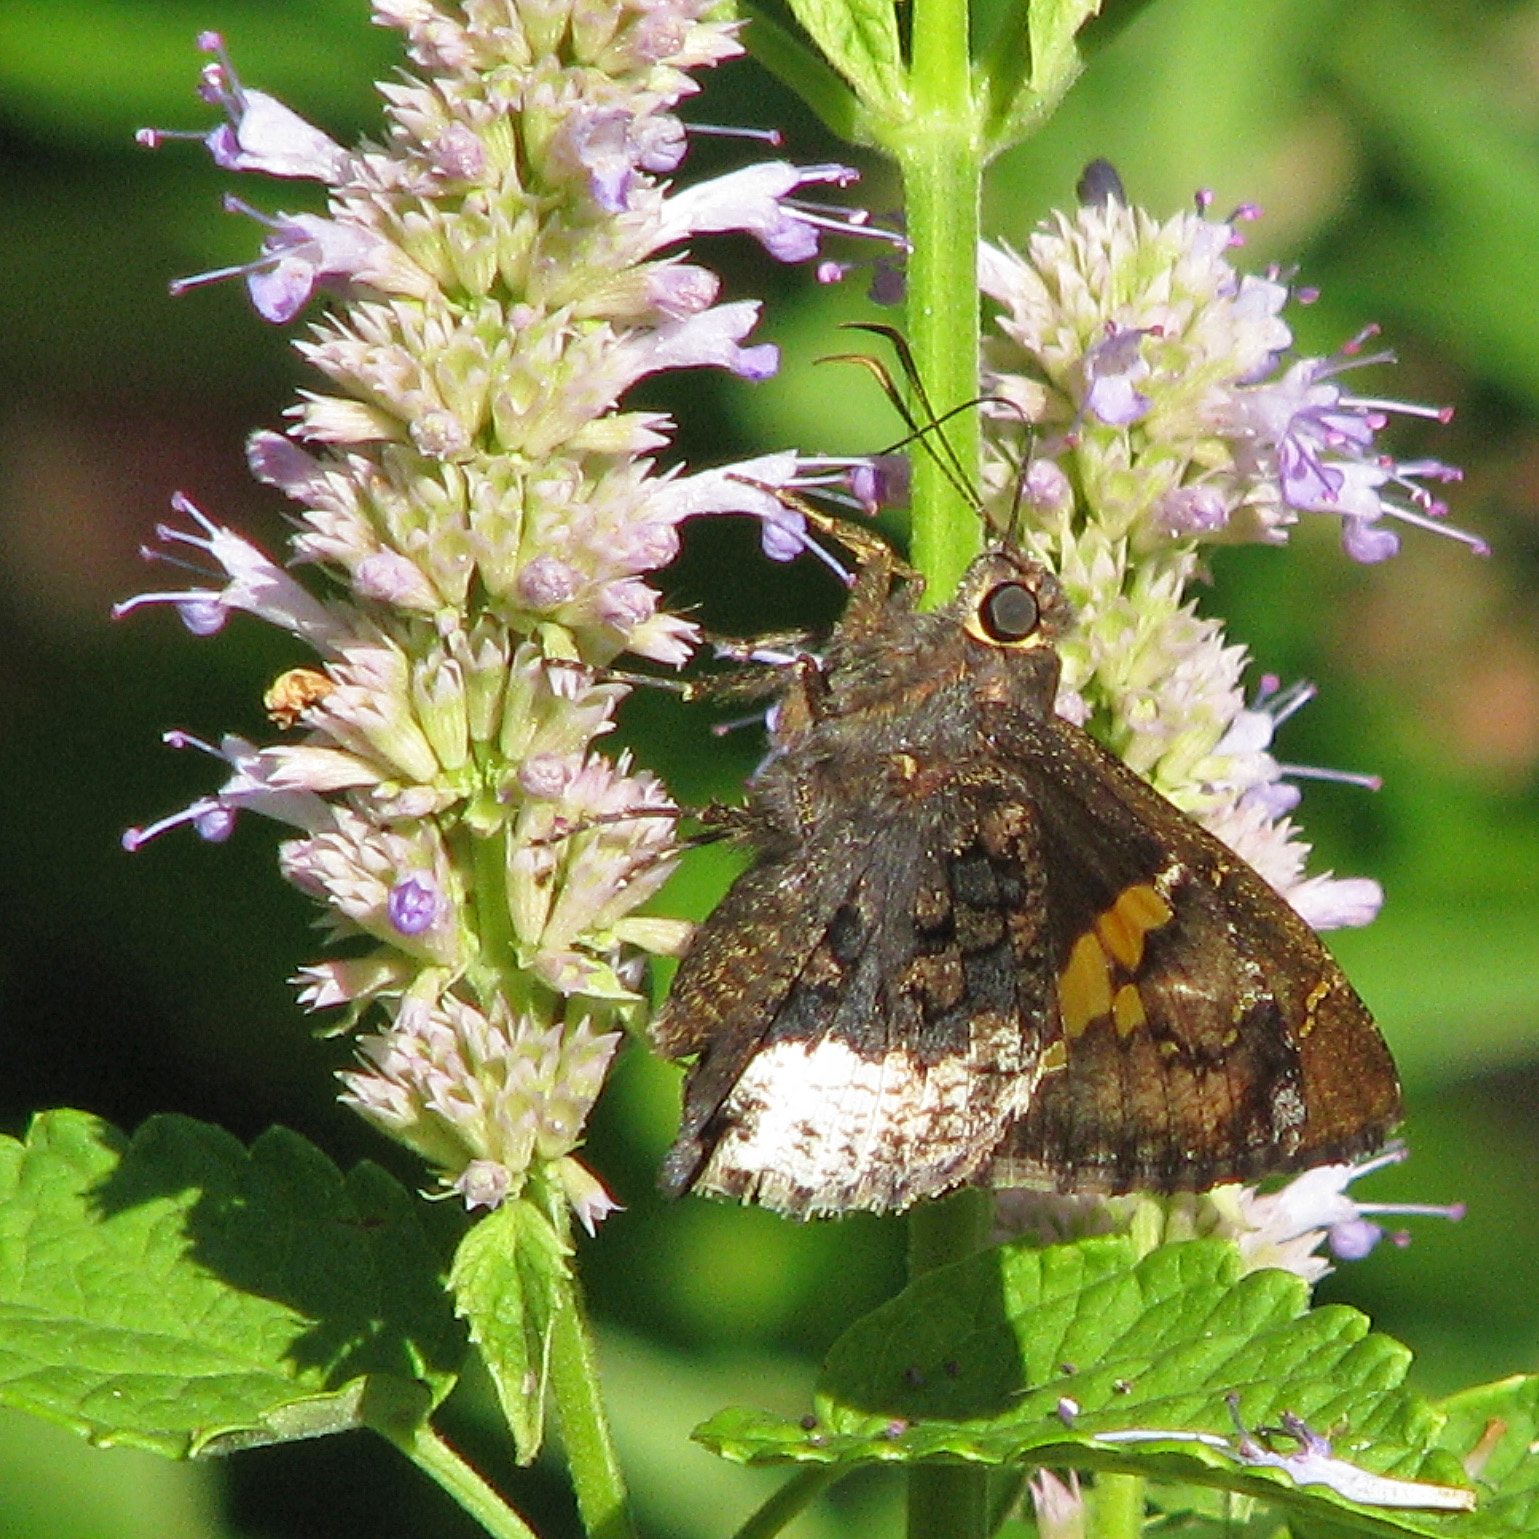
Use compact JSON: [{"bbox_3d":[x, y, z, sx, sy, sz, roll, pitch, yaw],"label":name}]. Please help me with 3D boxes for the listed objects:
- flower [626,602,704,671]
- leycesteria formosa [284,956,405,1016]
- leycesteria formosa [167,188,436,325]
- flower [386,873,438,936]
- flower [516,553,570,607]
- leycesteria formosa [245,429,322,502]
[{"bbox_3d":[-0.137,-0.158,2.745,0.040,0.058,0.094,19,-5,-33],"label":"flower"},{"bbox_3d":[-0.523,0.254,2.695,0.164,0.068,0.091,7,9,39],"label":"leycesteria formosa"},{"bbox_3d":[-0.520,-0.562,2.529,0.206,0.120,0.110,6,9,32],"label":"leycesteria formosa"},{"bbox_3d":[-0.403,0.153,2.550,0.062,0.052,0.069,-23,14,-14],"label":"flower"},{"bbox_3d":[-0.243,-0.210,2.554,0.058,0.060,0.070,6,8,29],"label":"flower"},{"bbox_3d":[-0.555,-0.353,2.642,0.078,0.085,0.160,-3,8,-34],"label":"leycesteria formosa"}]
